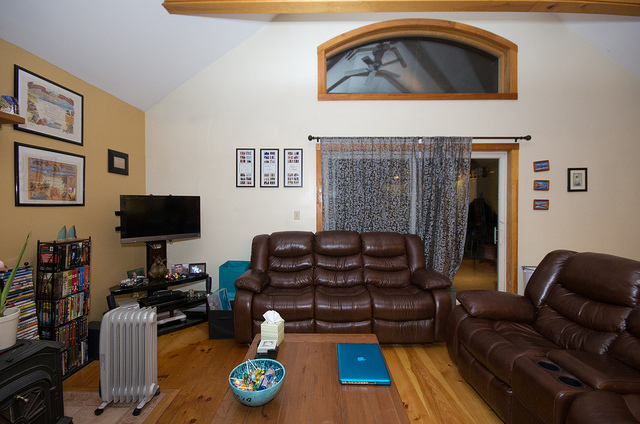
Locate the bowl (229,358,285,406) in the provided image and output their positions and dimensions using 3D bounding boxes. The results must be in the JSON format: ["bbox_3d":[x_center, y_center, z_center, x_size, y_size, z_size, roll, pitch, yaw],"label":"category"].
[{"bbox_3d":[-0.606,1.614,4.171,0.500,0.241,0.475,-2,17,0],"label":"bowl"}]

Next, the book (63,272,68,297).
[{"bbox_3d":[-2.875,0.799,4.964,0.015,0.246,0.062,-2,4,41],"label":"book"}]

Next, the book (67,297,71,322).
[{"bbox_3d":[-2.846,1.086,4.995,0.046,0.252,0.015,-5,3,-29],"label":"book"}]

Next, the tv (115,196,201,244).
[{"bbox_3d":[-2.148,0.081,5.983,1.026,0.603,0.117,-2,7,-30],"label":"tv"}]

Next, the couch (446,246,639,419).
[{"bbox_3d":[2.334,1.284,4.912,1.536,1.923,2.080,5,-1,-7],"label":"couch"}]

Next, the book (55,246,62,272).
[{"bbox_3d":[-2.929,0.519,4.926,0.014,0.262,0.088,-2,4,39],"label":"book"}]

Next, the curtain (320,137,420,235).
[{"bbox_3d":[0.759,-0.401,6.324,1.354,1.443,0.068,0,3,0],"label":"curtain"}]

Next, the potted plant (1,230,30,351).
[{"bbox_3d":[-3.127,0.799,4.515,0.292,1.125,0.761,-6,3,-33],"label":"potted plant"}]
